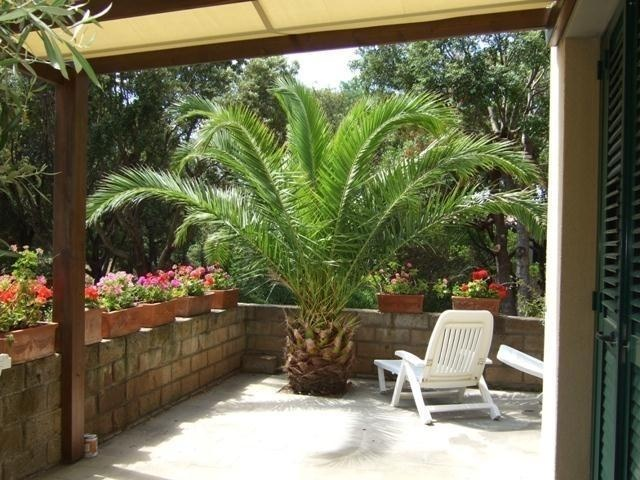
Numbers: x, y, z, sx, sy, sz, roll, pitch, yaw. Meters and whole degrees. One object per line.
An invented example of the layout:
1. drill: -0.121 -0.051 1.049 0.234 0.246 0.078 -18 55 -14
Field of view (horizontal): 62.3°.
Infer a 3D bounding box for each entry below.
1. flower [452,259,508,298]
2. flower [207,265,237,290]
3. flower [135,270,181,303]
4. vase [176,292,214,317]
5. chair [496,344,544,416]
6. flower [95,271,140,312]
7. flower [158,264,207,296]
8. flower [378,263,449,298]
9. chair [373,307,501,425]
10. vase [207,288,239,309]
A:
1. flower: 2.035 0.537 6.771 0.603 0.338 0.542 2 3 18
2. flower: -1.257 0.473 6.722 0.332 0.264 0.318 5 7 0
3. flower: -1.643 0.479 5.392 0.337 0.224 0.327 3 -1 19
4. vase: -1.383 0.712 5.955 0.154 0.228 0.532 2 3 25
5. chair: 2.034 1.398 5.374 0.421 0.592 1.078 2 3 23
6. flower: -1.843 0.459 4.857 0.349 0.252 0.337 1 5 -28
7. flower: -1.528 0.462 6.142 0.517 0.321 0.490 0 3 4
8. flower: 1.098 0.553 7.036 0.899 0.382 0.763 -1 -3 31
9. chair: 1.256 1.163 5.337 1.016 1.070 0.887 0 3 -12
10. vase: -1.182 0.642 6.544 0.205 0.174 0.352 0 -1 20
